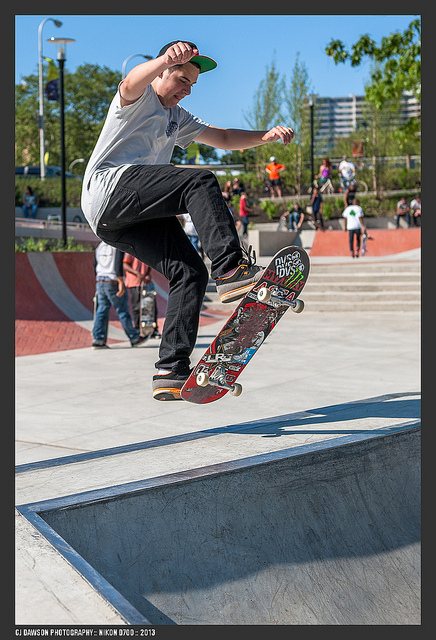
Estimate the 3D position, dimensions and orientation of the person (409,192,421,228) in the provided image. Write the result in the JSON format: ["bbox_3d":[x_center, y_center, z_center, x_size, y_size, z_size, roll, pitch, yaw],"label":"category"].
[{"bbox_3d":[5.137,-2.790,18.526,0.256,0.702,1.237,1,7,13],"label":"person"}]

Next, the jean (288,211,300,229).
[{"bbox_3d":[2.171,-2.888,20.507,0.195,0.497,0.419,-5,8,-33],"label":"jean"}]

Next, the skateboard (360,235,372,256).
[{"bbox_3d":[3.335,-1.737,16.258,0.068,0.523,0.137,7,2,-14],"label":"skateboard"}]

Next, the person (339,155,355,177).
[{"bbox_3d":[3.523,-4.187,19.375,0.348,0.639,1.089,0,7,6],"label":"person"}]

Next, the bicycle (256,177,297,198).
[{"bbox_3d":[2.114,-5.153,27.885,1.240,0.732,2.470,-3,7,-19],"label":"bicycle"}]

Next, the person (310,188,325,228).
[{"bbox_3d":[2.917,-3.339,20.887,0.324,1.084,0.845,1,7,11],"label":"person"}]

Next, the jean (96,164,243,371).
[{"bbox_3d":[-0.243,-0.218,3.251,0.580,0.967,0.687,-2,7,-14],"label":"jean"}]

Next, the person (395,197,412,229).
[{"bbox_3d":[5.043,-2.927,19.237,0.423,0.835,1.260,1,7,14],"label":"person"}]

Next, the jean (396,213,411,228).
[{"bbox_3d":[5.072,-2.707,19.339,0.359,0.360,0.516,0,7,9],"label":"jean"}]

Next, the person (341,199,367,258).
[{"bbox_3d":[2.934,-1.908,15.187,0.466,1.134,1.248,1,7,10],"label":"person"}]

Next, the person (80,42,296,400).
[{"bbox_3d":[-0.221,-0.373,3.238,0.897,1.614,1.118,0,6,1],"label":"person"}]

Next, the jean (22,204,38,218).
[{"bbox_3d":[-6.183,-3.571,23.227,0.519,0.422,0.440,0,7,1],"label":"jean"}]
